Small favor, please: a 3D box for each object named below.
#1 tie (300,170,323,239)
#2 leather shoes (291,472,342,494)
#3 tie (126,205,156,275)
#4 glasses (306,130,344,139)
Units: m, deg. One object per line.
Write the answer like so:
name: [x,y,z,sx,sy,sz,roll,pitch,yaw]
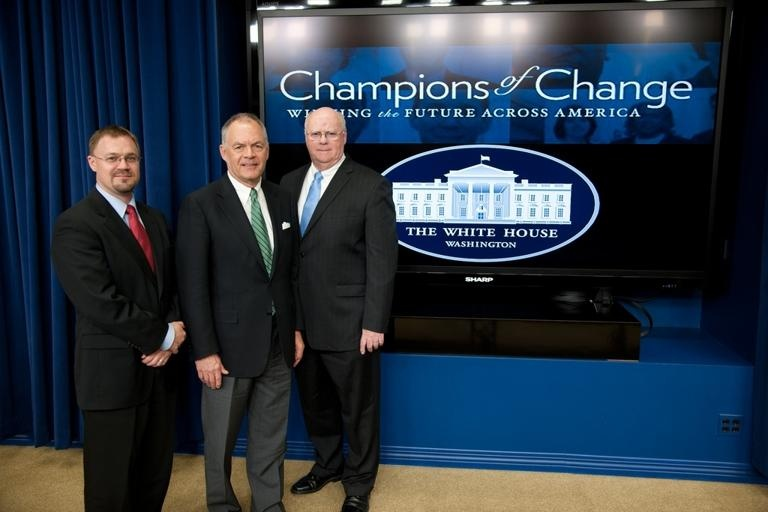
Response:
tie: [-0.388,-0.298,3.434,0.084,0.409,0.038,10,-13,35]
leather shoes: [-0.398,1.302,3.706,0.293,0.123,0.108,-1,11,-25]
tie: [-1.215,-0.100,3.195,0.078,0.452,0.052,-5,-27,-44]
glasses: [-0.308,-0.634,3.360,0.166,0.044,0.038,-2,14,-5]
